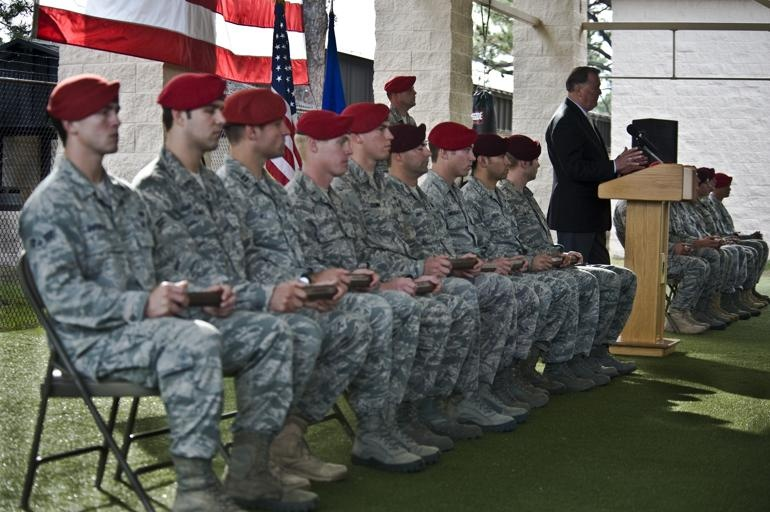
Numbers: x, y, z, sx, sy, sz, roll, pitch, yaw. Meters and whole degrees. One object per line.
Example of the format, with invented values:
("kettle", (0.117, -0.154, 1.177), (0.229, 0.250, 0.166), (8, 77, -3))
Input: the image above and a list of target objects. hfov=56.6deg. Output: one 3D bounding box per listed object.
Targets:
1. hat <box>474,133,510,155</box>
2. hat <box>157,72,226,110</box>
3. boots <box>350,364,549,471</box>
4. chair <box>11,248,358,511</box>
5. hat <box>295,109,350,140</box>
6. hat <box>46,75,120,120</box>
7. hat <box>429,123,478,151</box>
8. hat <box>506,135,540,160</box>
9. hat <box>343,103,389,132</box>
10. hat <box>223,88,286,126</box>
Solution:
("hat", (0.869, -0.915, 5.860), (0.234, 0.117, 0.177), (2, 2, 13))
("hat", (-0.999, -0.845, 3.682), (0.276, 0.090, 0.195), (-5, 16, 4))
("boots", (0.460, 1.088, 4.740), (1.238, 0.474, 0.397), (-8, 16, -17))
("chair", (-0.930, 0.616, 3.537), (0.628, 0.927, 1.376), (-5, -5, 26))
("hat", (-0.376, -0.804, 4.358), (0.267, 0.080, 0.187), (4, 15, 8))
("hat", (-1.384, -0.732, 3.283), (0.276, 0.222, 0.182), (2, 8, 14))
("hat", (0.504, -0.913, 5.453), (0.281, 0.085, 0.246), (5, 27, 8))
("hat", (1.224, -0.934, 6.252), (0.292, 0.114, 0.221), (2, 14, -46))
("hat", (-0.127, -0.923, 4.758), (0.298, 0.188, 0.102), (-4, -15, -3))
("hat", (-0.722, -0.827, 4.028), (0.321, 0.104, 0.214), (-5, 11, 5))
